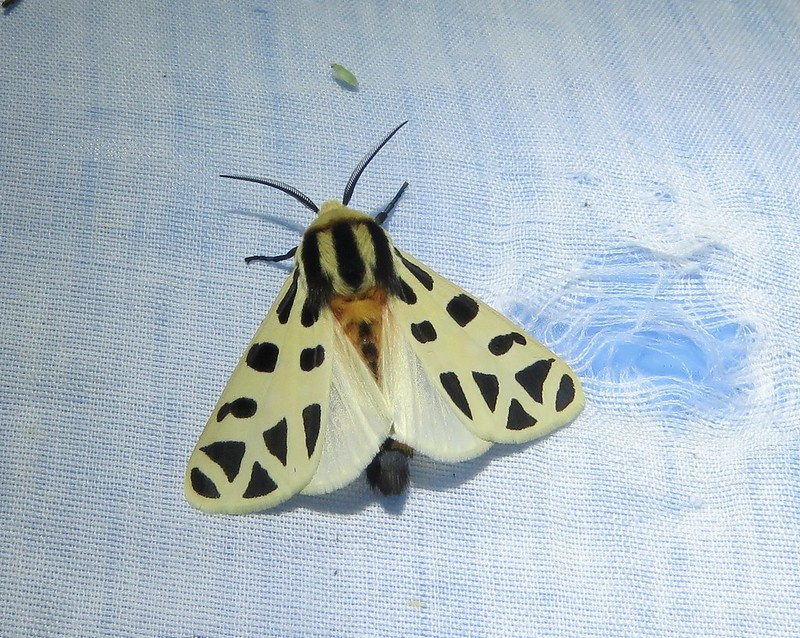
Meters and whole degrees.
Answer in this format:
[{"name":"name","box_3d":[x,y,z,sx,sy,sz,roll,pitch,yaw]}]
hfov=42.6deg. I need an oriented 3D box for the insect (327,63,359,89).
[{"name":"insect","box_3d":[-0.203,-0.877,3.721,0.061,0.030,0.122,-41,78,-12]}]
